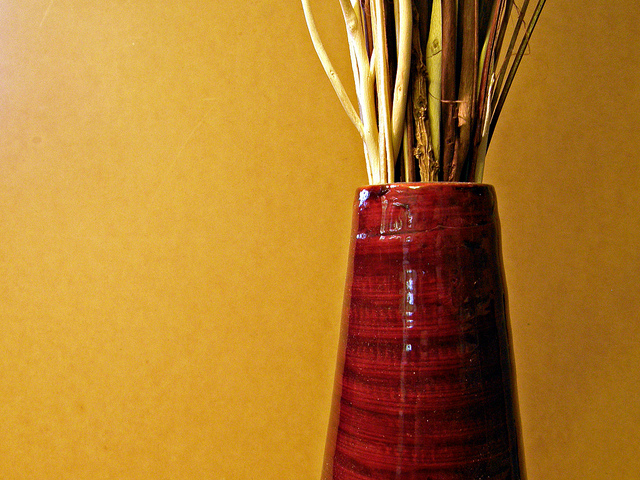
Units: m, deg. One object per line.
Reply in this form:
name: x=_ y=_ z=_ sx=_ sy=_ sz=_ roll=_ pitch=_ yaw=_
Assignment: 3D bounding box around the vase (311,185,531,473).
vase: x=0.143 y=0.124 z=0.825 sx=0.280 sy=0.119 sz=0.399 roll=-1 pitch=-83 yaw=0
